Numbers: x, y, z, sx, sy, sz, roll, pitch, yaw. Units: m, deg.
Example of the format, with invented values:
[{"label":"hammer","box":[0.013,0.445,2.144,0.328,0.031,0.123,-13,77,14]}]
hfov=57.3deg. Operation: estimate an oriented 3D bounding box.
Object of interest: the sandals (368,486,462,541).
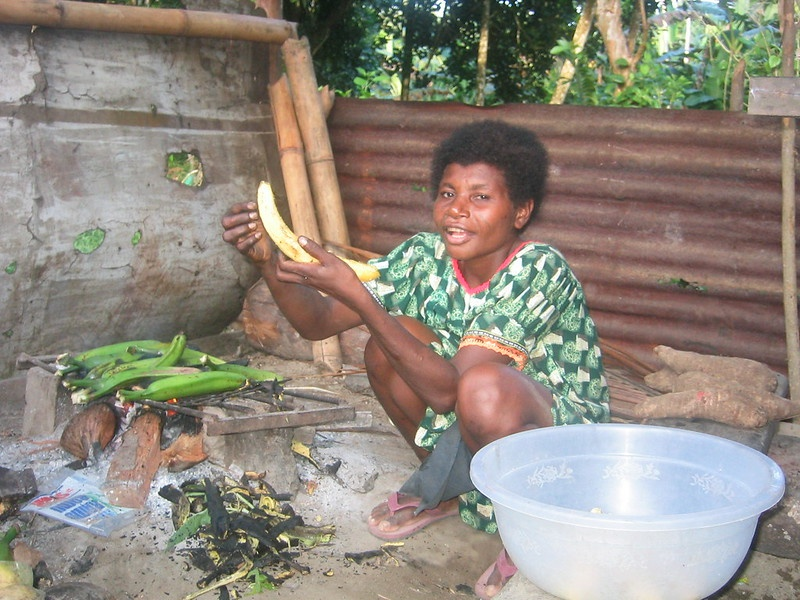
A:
[{"label":"sandals","box":[0.075,1.041,3.560,0.389,0.084,0.190,-7,30,-10]}]
